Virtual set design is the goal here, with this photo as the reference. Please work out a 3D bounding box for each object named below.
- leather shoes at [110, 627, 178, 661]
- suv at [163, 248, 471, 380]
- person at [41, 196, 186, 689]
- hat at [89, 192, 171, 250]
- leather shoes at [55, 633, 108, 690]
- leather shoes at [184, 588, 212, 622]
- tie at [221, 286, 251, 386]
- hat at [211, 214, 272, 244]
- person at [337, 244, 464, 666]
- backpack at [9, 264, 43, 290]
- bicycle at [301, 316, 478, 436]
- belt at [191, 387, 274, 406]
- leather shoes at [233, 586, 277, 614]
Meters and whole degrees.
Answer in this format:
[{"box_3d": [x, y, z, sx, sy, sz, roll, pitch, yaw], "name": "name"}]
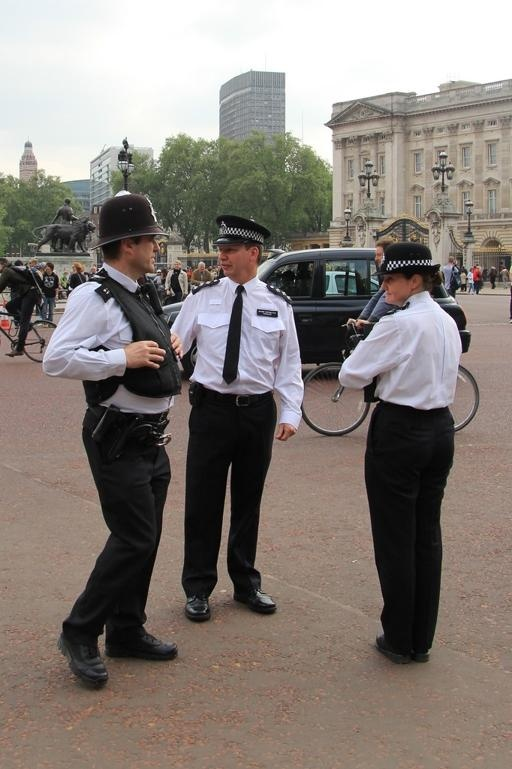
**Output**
[{"box_3d": [-0.418, 0.945, 3.316, 0.296, 0.129, 0.097, 2, 6, -1], "name": "leather shoes"}, {"box_3d": [0.733, -0.902, 11.506, 3.760, 1.492, 1.697, 0, 3, -5], "name": "suv"}, {"box_3d": [-0.483, 0.162, 3.159, 0.371, 1.686, 0.562, 3, 6, 23], "name": "person"}, {"box_3d": [-0.448, -0.579, 3.155, 0.215, 0.136, 0.215, -17, 18, -37], "name": "hat"}, {"box_3d": [-0.566, 0.923, 3.060, 0.246, 0.117, 0.090, 38, 18, 36], "name": "leather shoes"}, {"box_3d": [-0.239, 0.914, 3.701, 0.104, 0.086, 0.146, 0, 6, -5], "name": "leather shoes"}, {"box_3d": [-0.083, -0.202, 3.775, 0.059, 0.420, 0.044, 4, -37, 10], "name": "tie"}, {"box_3d": [-0.039, -0.648, 3.865, 0.150, 0.073, 0.182, 2, 2, 30], "name": "hat"}, {"box_3d": [0.524, 0.243, 3.395, 0.440, 1.525, 0.352, 2, 6, 11], "name": "person"}, {"box_3d": [-3.801, -1.791, 14.806, 0.463, 0.191, 0.359, 30, 3, 16], "name": "backpack"}, {"box_3d": [1.324, 0.067, 8.633, 1.773, 1.033, 0.846, 2, 3, -7], "name": "bicycle"}, {"box_3d": [-0.108, 0.056, 3.801, 0.356, 0.098, 0.162, 0, 6, -1], "name": "belt"}, {"box_3d": [-0.005, 0.918, 3.857, 0.074, 0.081, 0.211, -6, 2, -32], "name": "leather shoes"}]
